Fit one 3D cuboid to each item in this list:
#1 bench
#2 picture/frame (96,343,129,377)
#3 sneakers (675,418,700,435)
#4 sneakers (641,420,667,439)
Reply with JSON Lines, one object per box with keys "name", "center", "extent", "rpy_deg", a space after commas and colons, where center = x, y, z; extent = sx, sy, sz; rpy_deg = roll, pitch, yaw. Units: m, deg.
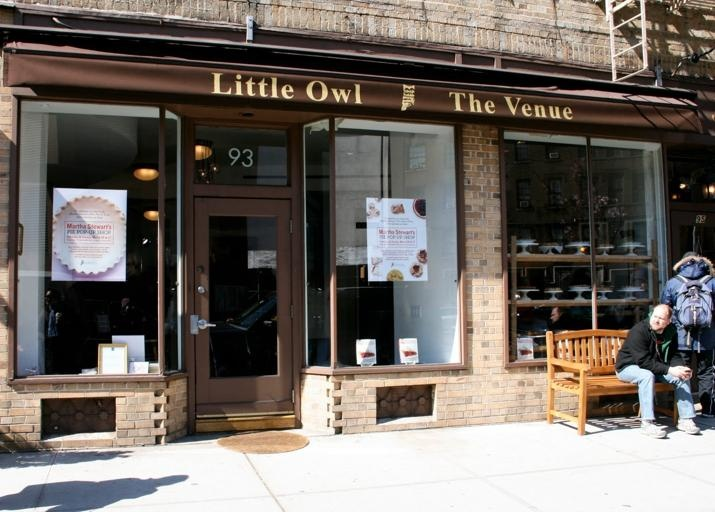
{"name": "bench", "center": [3.594, 1.702, 10.150], "extent": [1.942, 1.278, 0.776], "rpy_deg": [4, -1, -28]}
{"name": "picture/frame", "center": [-3.127, 1.341, 9.315], "extent": [0.457, 0.469, 0.050], "rpy_deg": [1, -9, -16]}
{"name": "sneakers", "center": [4.313, 2.253, 9.651], "extent": [0.132, 0.141, 0.326], "rpy_deg": [3, -5, -23]}
{"name": "sneakers", "center": [3.819, 2.265, 9.536], "extent": [0.152, 0.148, 0.393], "rpy_deg": [3, -3, -29]}
